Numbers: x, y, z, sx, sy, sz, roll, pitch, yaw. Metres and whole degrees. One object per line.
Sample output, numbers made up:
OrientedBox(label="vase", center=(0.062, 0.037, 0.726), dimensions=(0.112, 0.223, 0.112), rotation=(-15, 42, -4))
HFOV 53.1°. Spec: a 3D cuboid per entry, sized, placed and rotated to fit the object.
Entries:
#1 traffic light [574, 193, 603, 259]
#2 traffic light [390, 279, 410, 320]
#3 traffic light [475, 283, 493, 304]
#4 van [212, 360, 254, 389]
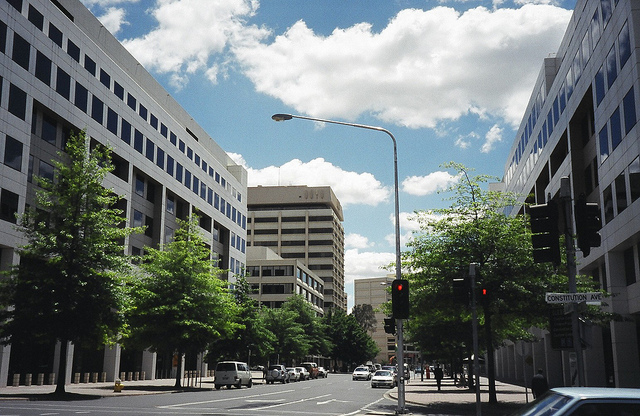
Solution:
OrientedBox(label="traffic light", center=(11.677, 0.721, 28.000), dimensions=(1.070, 2.567, 1.302), rotation=(-10, -21, 20))
OrientedBox(label="traffic light", center=(4.319, 4.834, 34.760), dimensions=(0.845, 2.144, 0.993), rotation=(-2, -20, 0))
OrientedBox(label="traffic light", center=(8.911, 4.615, 34.925), dimensions=(1.025, 1.048, 1.878), rotation=(-2, -2, 3))
OrientedBox(label="van", center=(-7.606, 14.784, 56.751), dimensions=(2.058, 1.777, 3.505), rotation=(-3, -11, 14))
